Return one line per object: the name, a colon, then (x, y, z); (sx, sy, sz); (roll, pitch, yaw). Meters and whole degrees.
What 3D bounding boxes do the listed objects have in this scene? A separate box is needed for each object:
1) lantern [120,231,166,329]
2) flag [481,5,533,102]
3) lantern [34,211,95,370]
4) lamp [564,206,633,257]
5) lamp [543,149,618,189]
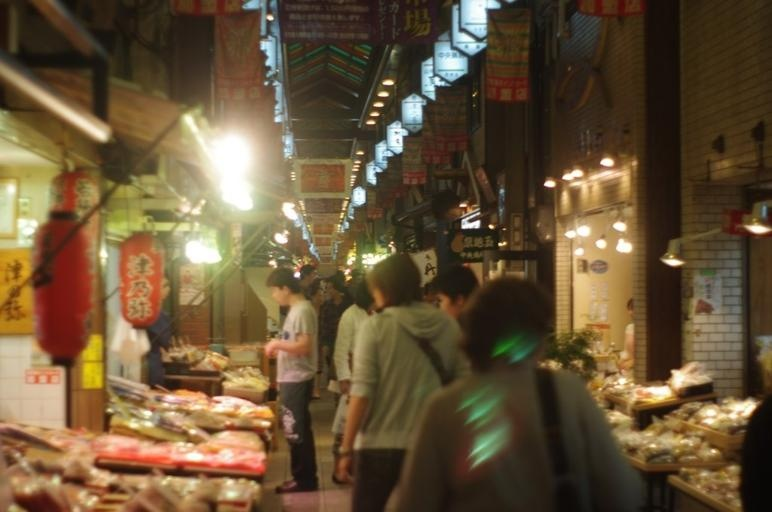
lantern: (-3.198, 0.308, 9.892); (0.534, 1.195, 0.416); (5, -7, -19)
flag: (1.941, -3.165, 11.963); (0.665, 1.431, 0.510); (2, -7, 8)
lantern: (-2.609, 0.238, 6.122); (0.470, 1.255, 0.443); (6, -8, -24)
lamp: (3.657, -0.398, 13.296); (0.928, 0.328, 0.916); (1, -35, 19)
lamp: (3.314, -1.370, 12.346); (0.281, 0.178, 1.645); (11, -9, -9)
